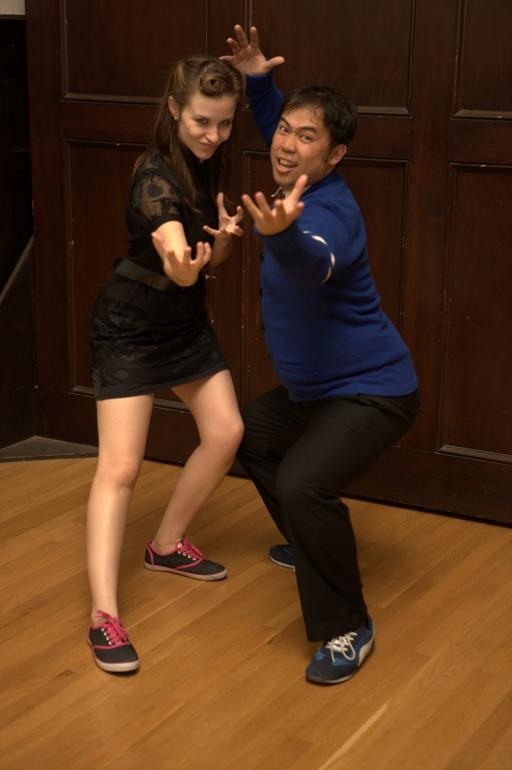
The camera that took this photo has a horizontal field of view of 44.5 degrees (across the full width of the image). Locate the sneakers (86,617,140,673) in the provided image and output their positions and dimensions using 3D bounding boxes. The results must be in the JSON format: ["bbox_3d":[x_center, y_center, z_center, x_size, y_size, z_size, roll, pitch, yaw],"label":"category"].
[{"bbox_3d":[-0.336,0.609,1.458,0.069,0.076,0.166,-7,17,-27],"label":"sneakers"}]

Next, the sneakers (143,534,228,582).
[{"bbox_3d":[-0.214,0.528,1.982,0.294,0.116,0.100,5,9,11],"label":"sneakers"}]

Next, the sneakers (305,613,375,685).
[{"bbox_3d":[0.194,0.617,1.477,0.066,0.071,0.197,3,9,31],"label":"sneakers"}]
